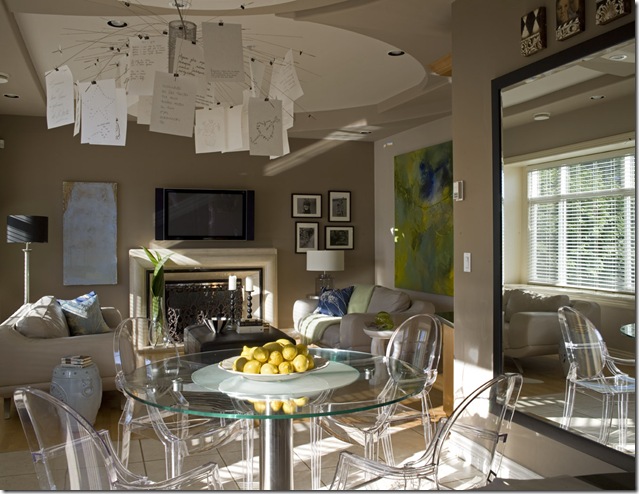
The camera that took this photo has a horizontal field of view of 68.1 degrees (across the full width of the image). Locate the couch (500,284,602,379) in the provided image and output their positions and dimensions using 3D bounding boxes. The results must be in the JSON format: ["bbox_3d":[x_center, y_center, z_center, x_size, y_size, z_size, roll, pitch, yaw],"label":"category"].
[{"bbox_3d":[1.393,0.456,2.930,0.387,0.457,0.583,0,-5,-11],"label":"couch"}]

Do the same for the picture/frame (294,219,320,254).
[{"bbox_3d":[-0.220,-0.176,7.503,0.504,0.711,0.025,0,-2,-21],"label":"picture/frame"}]

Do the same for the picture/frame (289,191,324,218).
[{"bbox_3d":[-0.236,-0.682,7.516,0.411,0.365,0.031,0,0,-12],"label":"picture/frame"}]

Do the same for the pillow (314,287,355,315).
[{"bbox_3d":[0.244,0.747,6.676,0.382,0.387,0.120,5,-28,32],"label":"pillow"}]

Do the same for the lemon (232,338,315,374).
[{"bbox_3d":[-0.242,0.564,2.389,0.216,0.083,0.223,-1,-3,26],"label":"lemon"}]

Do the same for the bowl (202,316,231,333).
[{"bbox_3d":[-1.190,0.890,5.442,0.204,0.101,0.212,-2,-6,0],"label":"bowl"}]

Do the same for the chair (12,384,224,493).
[{"bbox_3d":[-0.882,0.830,2.028,0.710,0.450,0.200,-1,1,-33],"label":"chair"}]

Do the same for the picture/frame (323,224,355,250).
[{"bbox_3d":[0.288,-0.165,7.666,0.392,0.352,0.027,0,-3,-16],"label":"picture/frame"}]

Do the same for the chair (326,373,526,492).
[{"bbox_3d":[0.512,0.884,2.210,0.783,0.624,0.402,-1,1,24],"label":"chair"}]

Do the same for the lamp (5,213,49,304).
[{"bbox_3d":[-3.609,0.170,5.847,0.385,1.101,1.334,-1,1,-34],"label":"lamp"}]

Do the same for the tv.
[{"bbox_3d":[-1.738,-0.483,6.985,1.295,0.626,0.060,-1,1,-19],"label":"tv"}]
